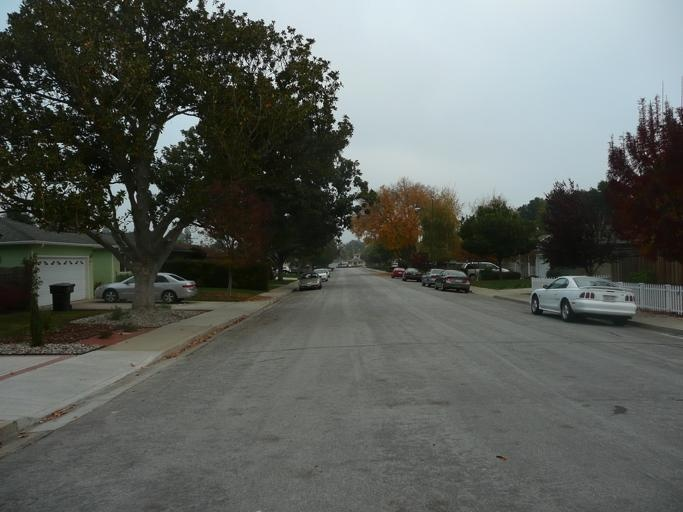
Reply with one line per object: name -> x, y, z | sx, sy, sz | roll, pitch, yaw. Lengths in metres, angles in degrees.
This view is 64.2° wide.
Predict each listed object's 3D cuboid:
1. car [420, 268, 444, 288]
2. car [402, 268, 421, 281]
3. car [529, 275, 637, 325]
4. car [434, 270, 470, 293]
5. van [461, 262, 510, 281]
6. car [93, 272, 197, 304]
car -> 7.438, 1.796, 44.331 | 1.114, 0.984, 2.851 | -1, 4, 3
car -> 7.490, 1.961, 57.212 | 1.717, 1.372, 1.924 | 0, -3, 7
car -> 8.338, 1.426, 19.391 | 1.533, 1.241, 3.521 | 2, 2, -7
car -> 7.737, 1.700, 38.232 | 1.334, 1.375, 2.711 | 1, -3, -16
van -> 13.184, 1.317, 50.664 | 3.714, 1.712, 6.324 | 0, -3, 13
car -> -10.442, 1.674, 28.969 | 5.029, 1.554, 1.729 | -1, -3, 18
